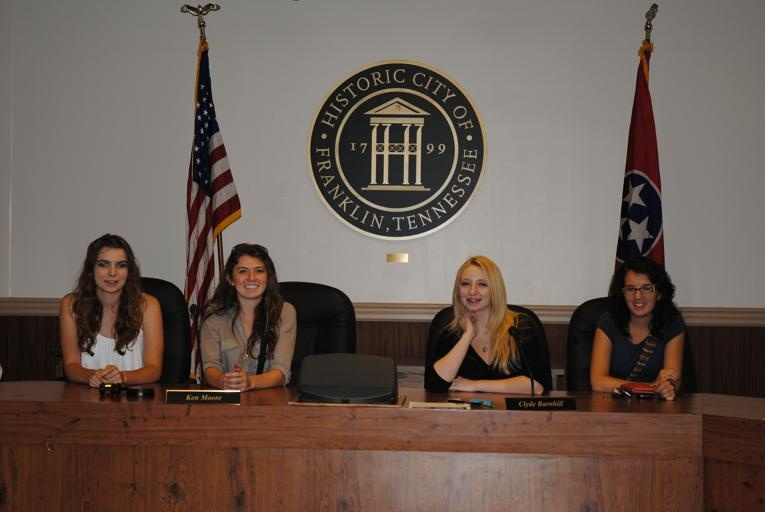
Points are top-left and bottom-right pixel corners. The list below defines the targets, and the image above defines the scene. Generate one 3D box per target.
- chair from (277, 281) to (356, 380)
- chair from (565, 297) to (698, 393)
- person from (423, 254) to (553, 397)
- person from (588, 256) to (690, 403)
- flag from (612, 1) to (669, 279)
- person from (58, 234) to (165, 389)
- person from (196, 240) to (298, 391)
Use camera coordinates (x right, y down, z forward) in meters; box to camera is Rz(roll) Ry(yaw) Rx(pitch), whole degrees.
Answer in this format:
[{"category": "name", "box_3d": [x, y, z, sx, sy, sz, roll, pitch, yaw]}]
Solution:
[{"category": "chair", "box_3d": [-0.351, 0.427, 4.072, 0.428, 0.666, 0.536, 0, 2, 2]}, {"category": "chair", "box_3d": [1.465, 0.523, 3.902, 0.409, 0.508, 0.360, 15, -14, -26]}, {"category": "person", "box_3d": [0.585, 0.393, 3.758, 0.662, 0.851, 0.644, -5, -13, 23]}, {"category": "person", "box_3d": [1.435, 0.415, 3.773, 0.475, 0.788, 0.616, 0, -3, 19]}, {"category": "flag", "box_3d": [1.772, -0.731, 4.585, 0.298, 1.713, 0.183, 1, 0, 29]}, {"category": "person", "box_3d": [-1.491, 0.279, 3.715, 0.567, 0.838, 0.511, 2, -1, -18]}, {"category": "person", "box_3d": [-0.724, 0.309, 3.676, 0.532, 0.800, 0.538, 2, -1, -12]}]
